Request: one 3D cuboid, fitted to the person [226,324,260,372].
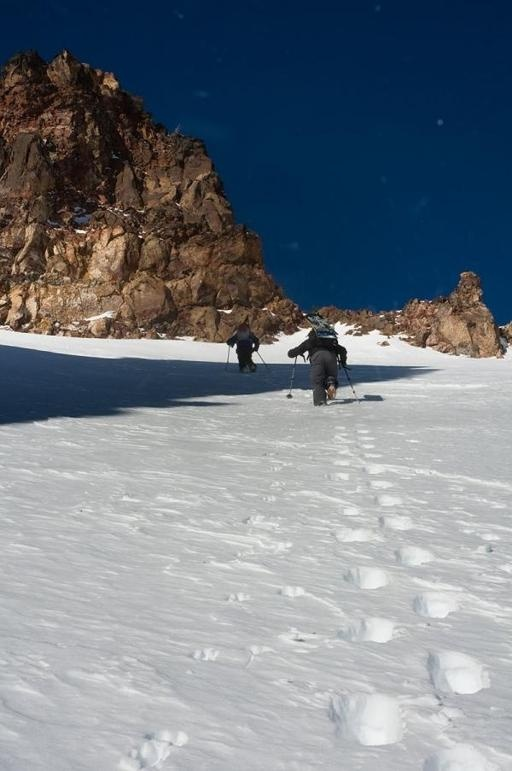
[{"bbox_3d":[-0.371,-1.150,22.937,0.939,1.715,0.558,-10,-26,8],"label":"person"}]

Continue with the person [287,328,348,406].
[{"bbox_3d":[1.118,-0.421,13.371,1.156,1.708,0.830,0,-18,-1],"label":"person"}]

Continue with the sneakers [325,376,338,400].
[{"bbox_3d":[1.358,0.058,13.328,0.166,0.444,0.201,1,5,-3],"label":"sneakers"}]

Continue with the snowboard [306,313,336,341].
[{"bbox_3d":[1.260,-1.015,13.386,0.510,0.556,0.153,11,-44,-28],"label":"snowboard"}]
